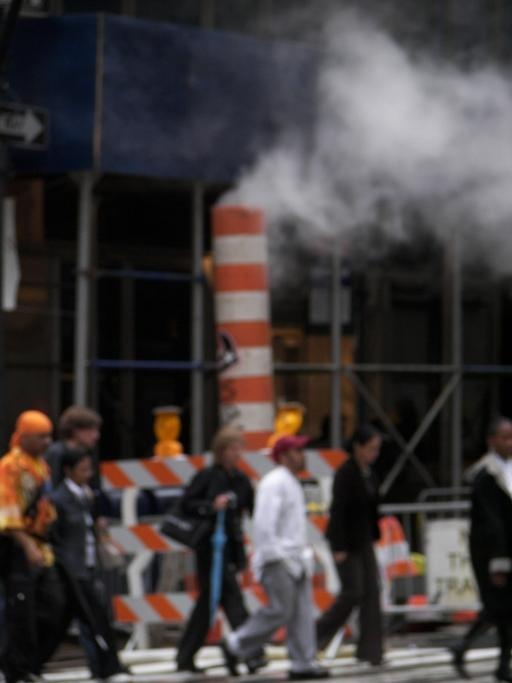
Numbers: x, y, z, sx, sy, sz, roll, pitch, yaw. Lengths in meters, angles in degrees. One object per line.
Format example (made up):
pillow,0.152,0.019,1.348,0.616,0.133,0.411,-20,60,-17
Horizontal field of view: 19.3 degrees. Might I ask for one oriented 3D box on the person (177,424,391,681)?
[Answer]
person,0.141,1.189,8.533,1.128,1.393,0.512,0,-5,-1
